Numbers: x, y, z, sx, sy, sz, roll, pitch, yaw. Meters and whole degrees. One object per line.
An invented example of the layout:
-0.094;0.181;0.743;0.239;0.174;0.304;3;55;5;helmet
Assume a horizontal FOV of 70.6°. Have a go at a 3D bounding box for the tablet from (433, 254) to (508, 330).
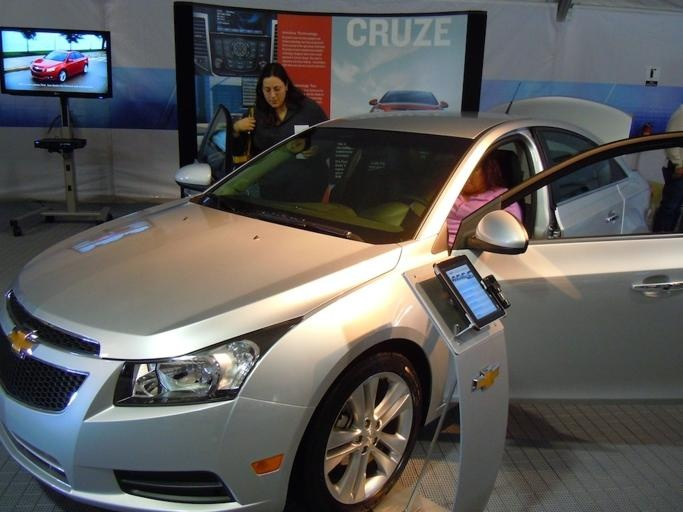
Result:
0.471;0.142;1.868;0.215;0.315;0.063;-21;-14;-38;tablet
